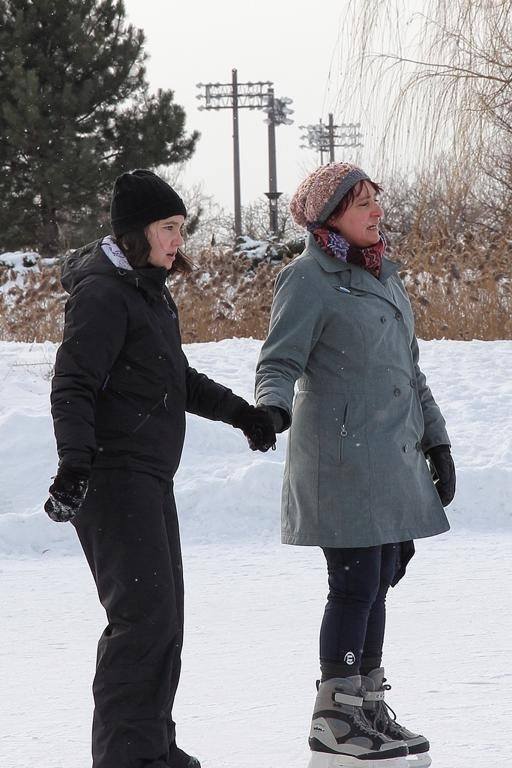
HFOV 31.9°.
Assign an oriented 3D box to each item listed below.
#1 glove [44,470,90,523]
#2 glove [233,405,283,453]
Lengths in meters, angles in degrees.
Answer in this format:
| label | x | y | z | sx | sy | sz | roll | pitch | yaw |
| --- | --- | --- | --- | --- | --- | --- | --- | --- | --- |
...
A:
| label | x | y | z | sx | sy | sz | roll | pitch | yaw |
| --- | --- | --- | --- | --- | --- | --- | --- | --- | --- |
| glove | -0.463 | 0.284 | 2.212 | 0.096 | 0.133 | 0.050 | 21 | 3 | 29 |
| glove | 0.003 | 0.124 | 2.601 | 0.065 | 0.107 | 0.142 | -32 | 13 | 13 |
